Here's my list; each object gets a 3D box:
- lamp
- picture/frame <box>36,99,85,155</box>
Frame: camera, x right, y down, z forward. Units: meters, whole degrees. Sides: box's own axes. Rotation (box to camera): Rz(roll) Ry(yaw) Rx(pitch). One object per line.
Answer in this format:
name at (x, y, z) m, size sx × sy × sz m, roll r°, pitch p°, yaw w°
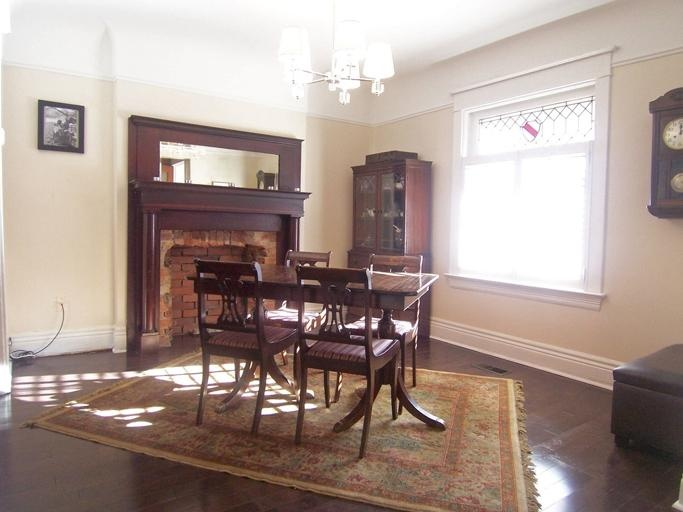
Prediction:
lamp at (-0.021, -1.603, 4.566) m, size 0.909 × 0.509 × 0.989 m, roll 14°, pitch 22°, yaw 26°
picture/frame at (-2.804, -1.282, 5.469) m, size 0.535 × 0.662 × 0.042 m, roll -3°, pitch 7°, yaw -29°
